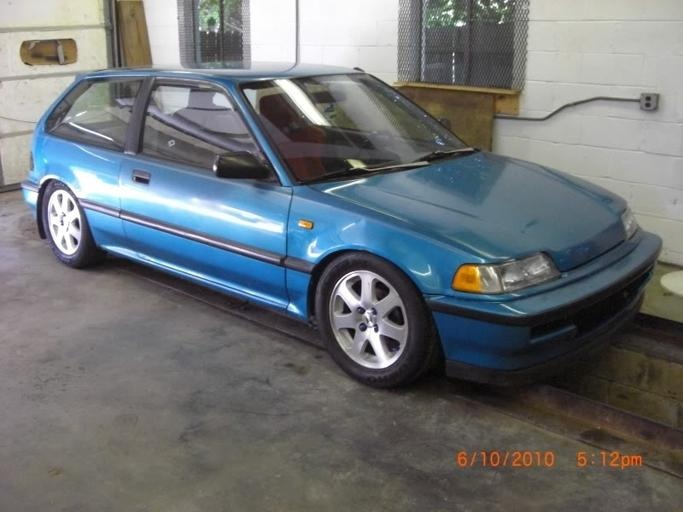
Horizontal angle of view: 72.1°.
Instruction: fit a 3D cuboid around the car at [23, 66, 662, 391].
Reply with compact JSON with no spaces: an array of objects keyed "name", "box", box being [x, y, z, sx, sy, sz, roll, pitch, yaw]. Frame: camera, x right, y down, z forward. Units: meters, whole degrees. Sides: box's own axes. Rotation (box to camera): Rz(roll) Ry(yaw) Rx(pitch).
[{"name":"car","box":[-0.595,-0.510,4.035,5.239,1.545,2.331,12,25,30]}]
